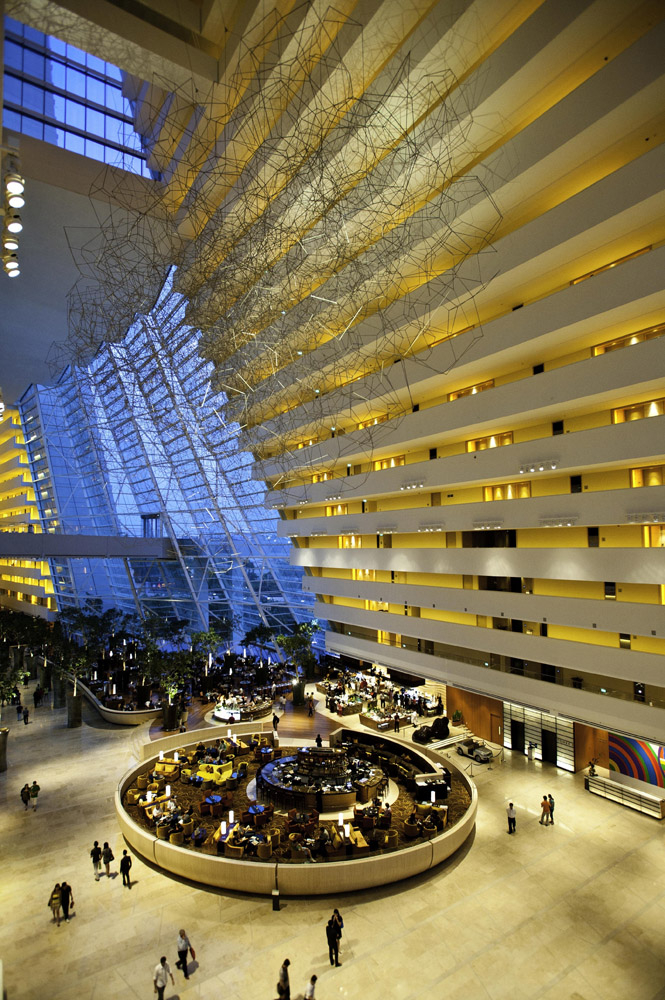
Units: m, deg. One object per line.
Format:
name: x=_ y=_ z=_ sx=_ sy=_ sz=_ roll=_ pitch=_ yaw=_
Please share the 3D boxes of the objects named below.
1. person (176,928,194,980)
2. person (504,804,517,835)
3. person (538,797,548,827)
person: x=-2.392 y=7.388 z=10.678 sx=0.291 sy=0.669 sz=0.751 roll=-1 pitch=-3 yaw=-13
person: x=4.280 y=7.538 z=15.495 sx=0.241 sy=0.724 sz=0.971 roll=-2 pitch=-3 yaw=14
person: x=5.207 y=7.595 z=15.927 sx=0.221 sy=0.616 sz=0.713 roll=-2 pitch=-3 yaw=18
